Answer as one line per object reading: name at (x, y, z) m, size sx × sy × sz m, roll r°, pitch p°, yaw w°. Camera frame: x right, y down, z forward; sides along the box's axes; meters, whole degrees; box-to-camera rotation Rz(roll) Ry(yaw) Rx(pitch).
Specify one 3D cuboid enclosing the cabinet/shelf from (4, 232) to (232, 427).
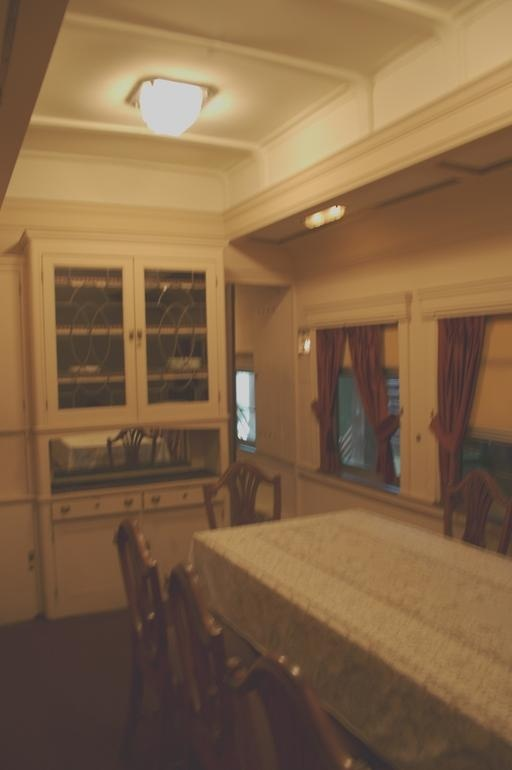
cabinet/shelf at (-0.751, -0.280, 2.639) m, size 0.689 × 0.890 × 0.284 m, roll -1°, pitch 5°, yaw -20°
